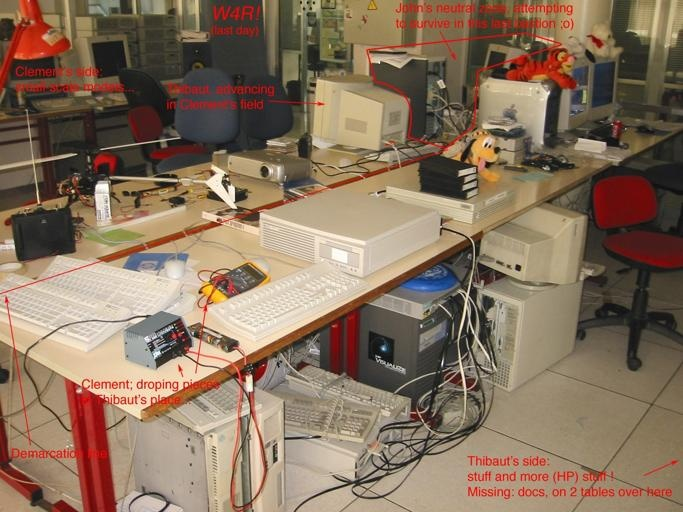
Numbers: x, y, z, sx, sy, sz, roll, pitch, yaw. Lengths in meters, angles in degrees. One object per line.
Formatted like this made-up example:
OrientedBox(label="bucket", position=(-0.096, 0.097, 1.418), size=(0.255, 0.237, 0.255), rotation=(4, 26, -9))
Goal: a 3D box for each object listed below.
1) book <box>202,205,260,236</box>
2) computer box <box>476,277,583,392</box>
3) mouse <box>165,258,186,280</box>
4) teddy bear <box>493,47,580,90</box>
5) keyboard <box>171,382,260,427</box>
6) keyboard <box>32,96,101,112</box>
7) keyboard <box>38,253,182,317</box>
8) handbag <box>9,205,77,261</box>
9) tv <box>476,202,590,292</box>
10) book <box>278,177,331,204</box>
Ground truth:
OrientedBox(label="book", position=(-0.507, -0.177, 2.621), size=(0.269, 0.028, 0.154), rotation=(20, 28, 38))
OrientedBox(label="computer box", position=(1.003, 0.426, 2.987), size=(0.647, 0.440, 0.333), rotation=(-19, 29, -34))
OrientedBox(label="mouse", position=(-0.626, 0.049, 2.095), size=(0.095, 0.049, 0.077), rotation=(6, 19, 4))
OrientedBox(label="teddy bear", position=(1.387, -1.313, 3.845), size=(0.519, 0.174, 0.348), rotation=(-4, 36, 12))
OrientedBox(label="keyboard", position=(-0.452, 0.546, 1.988), size=(0.271, 0.056, 0.199), rotation=(-19, 27, -41))
OrientedBox(label="keyboard", position=(-2.671, -1.445, 5.224), size=(0.562, 0.097, 0.441), rotation=(-11, 22, -26))
OrientedBox(label="keyboard", position=(-0.881, 0.140, 1.973), size=(0.653, 0.166, 0.044), rotation=(2, 3, 15))
OrientedBox(label="handbag", position=(-1.236, -0.085, 2.238), size=(0.262, 0.179, 0.141), rotation=(-13, 28, -31))
OrientedBox(label="tv", position=(1.039, -0.067, 3.072), size=(0.526, 0.395, 0.602), rotation=(-20, 28, -29))
OrientedBox(label="book", position=(-0.221, -0.372, 2.995), size=(0.162, 0.012, 0.283), rotation=(26, 33, 38))
